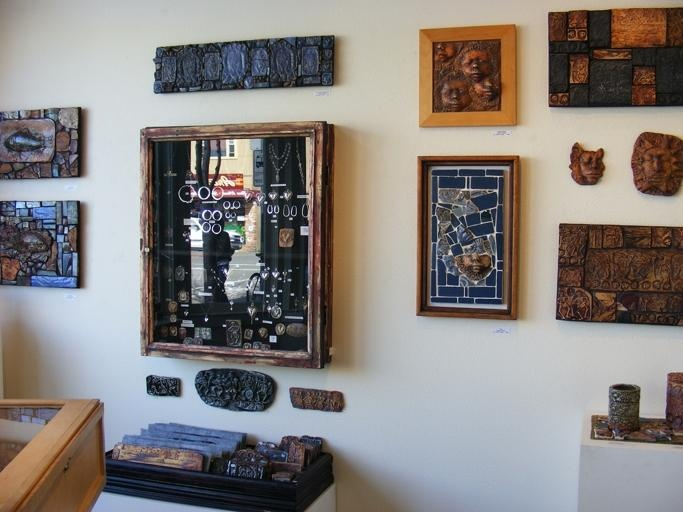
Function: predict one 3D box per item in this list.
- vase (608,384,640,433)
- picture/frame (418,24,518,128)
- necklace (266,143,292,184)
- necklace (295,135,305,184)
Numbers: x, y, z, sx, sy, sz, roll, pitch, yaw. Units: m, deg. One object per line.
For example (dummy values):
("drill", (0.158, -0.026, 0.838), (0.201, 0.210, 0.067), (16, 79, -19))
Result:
("vase", (1.701, 0.933, 3.872), (0.159, 0.244, 0.164), (2, -2, -45))
("picture/frame", (0.862, -1.200, 4.222), (0.684, 0.707, 0.055), (1, 5, 18))
("necklace", (-0.437, -0.648, 4.425), (0.170, 0.287, 0.038), (3, 4, 23))
("necklace", (-0.289, -0.668, 4.401), (0.045, 0.361, 0.049), (-6, -8, 39))
